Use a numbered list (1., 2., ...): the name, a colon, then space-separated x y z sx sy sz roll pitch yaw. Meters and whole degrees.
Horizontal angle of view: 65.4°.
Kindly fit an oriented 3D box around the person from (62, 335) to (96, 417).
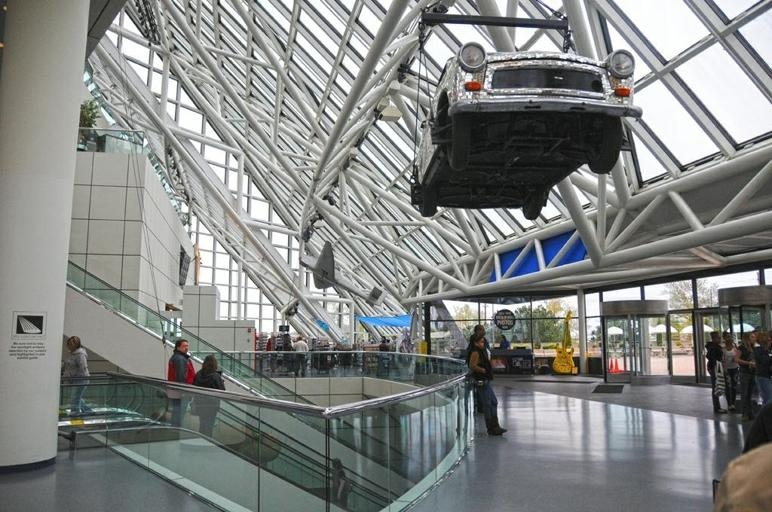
1. person: -7.006 2.761 13.739 0.827 0.609 1.766 -2 23 -25

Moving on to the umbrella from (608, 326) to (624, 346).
1. umbrella: 10.265 3.669 27.148 0.703 0.788 0.730 3 -18 -7

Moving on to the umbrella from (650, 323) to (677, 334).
1. umbrella: 12.070 3.213 26.319 1.027 0.392 0.287 -4 -10 22

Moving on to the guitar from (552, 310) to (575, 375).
1. guitar: 9.450 4.641 32.120 1.133 3.309 1.625 -4 -10 23

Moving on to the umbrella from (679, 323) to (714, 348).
1. umbrella: 13.036 3.555 25.482 1.410 1.227 1.448 -4 -8 33

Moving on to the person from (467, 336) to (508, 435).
1. person: 2.185 2.853 13.305 0.755 2.215 1.523 -2 -9 10

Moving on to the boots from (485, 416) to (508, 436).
1. boots: 2.396 3.776 13.370 0.498 0.520 0.279 -3 -1 -34

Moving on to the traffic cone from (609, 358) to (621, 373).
1. traffic cone: 10.173 4.933 26.919 0.521 0.593 0.509 18 -22 -39

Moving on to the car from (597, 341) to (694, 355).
1. car: 11.485 4.053 26.323 3.155 0.704 1.308 -3 -10 14
